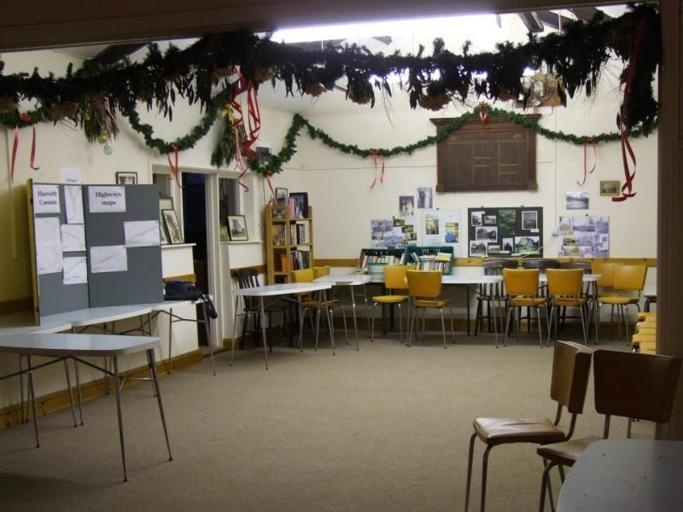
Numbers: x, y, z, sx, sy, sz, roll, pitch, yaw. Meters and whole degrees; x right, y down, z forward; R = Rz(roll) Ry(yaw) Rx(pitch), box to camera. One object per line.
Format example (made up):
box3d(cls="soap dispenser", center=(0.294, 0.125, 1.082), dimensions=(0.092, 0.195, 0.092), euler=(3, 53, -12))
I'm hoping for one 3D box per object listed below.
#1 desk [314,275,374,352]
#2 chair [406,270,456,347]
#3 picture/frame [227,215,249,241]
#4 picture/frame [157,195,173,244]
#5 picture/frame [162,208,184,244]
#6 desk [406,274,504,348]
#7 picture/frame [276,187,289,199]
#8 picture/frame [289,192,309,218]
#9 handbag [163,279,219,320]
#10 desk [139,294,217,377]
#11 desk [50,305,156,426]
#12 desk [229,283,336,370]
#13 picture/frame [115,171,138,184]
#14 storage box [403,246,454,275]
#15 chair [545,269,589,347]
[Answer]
box3d(cls="desk", center=(0.138, 0.882, 9.370), dimensions=(0.816, 1.190, 1.179), euler=(0, 4, 18))
box3d(cls="chair", center=(1.435, 0.743, 9.021), dimensions=(0.769, 1.115, 1.939), euler=(0, 2, 9))
box3d(cls="picture/frame", center=(-1.582, -0.421, 8.548), dimensions=(0.036, 0.343, 0.377), euler=(-4, -1, 22))
box3d(cls="picture/frame", center=(-2.250, -0.492, 7.275), dimensions=(0.150, 0.661, 0.349), euler=(-1, 3, -16))
box3d(cls="picture/frame", center=(-2.207, -0.378, 7.337), dimensions=(0.049, 0.365, 0.397), euler=(-11, -17, 13))
box3d(cls="desk", center=(2.102, 0.873, 9.039), dimensions=(1.029, 0.955, 1.174), euler=(2, 10, 16))
box3d(cls="picture/frame", center=(-0.972, -1.049, 9.409), dimensions=(0.164, 0.224, 0.369), euler=(0, 2, 17))
box3d(cls="picture/frame", center=(-0.703, -0.831, 9.343), dimensions=(0.401, 0.638, 0.058), euler=(1, 4, 4))
box3d(cls="handbag", center=(-1.806, 0.441, 6.610), dimensions=(0.504, 0.222, 0.559), euler=(4, -1, 4))
box3d(cls="desk", center=(-1.884, 0.814, 6.942), dimensions=(1.020, 1.102, 0.777), euler=(-1, 1, -36))
box3d(cls="desk", center=(-2.420, 1.146, 5.864), dimensions=(1.121, 1.226, 0.893), euler=(0, 2, 10))
box3d(cls="desk", center=(-0.941, 0.890, 8.150), dimensions=(1.479, 1.007, 1.685), euler=(2, 3, 43))
box3d(cls="picture/frame", center=(-2.535, -0.941, 6.688), dimensions=(0.091, 0.162, 0.322), euler=(1, 2, 18))
box3d(cls="storage box", center=(1.471, 0.023, 9.533), dimensions=(0.763, 0.499, 0.564), euler=(0, 12, 11))
box3d(cls="chair", center=(3.389, 0.722, 8.430), dimensions=(0.568, 1.099, 1.317), euler=(1, 2, 24))
